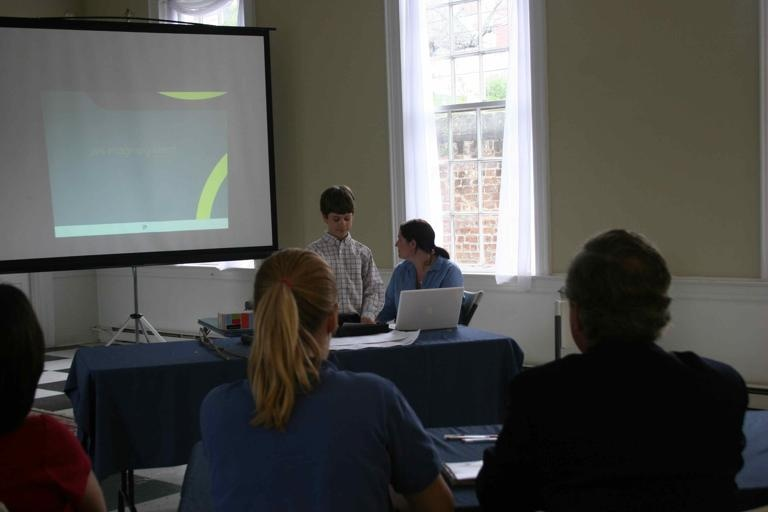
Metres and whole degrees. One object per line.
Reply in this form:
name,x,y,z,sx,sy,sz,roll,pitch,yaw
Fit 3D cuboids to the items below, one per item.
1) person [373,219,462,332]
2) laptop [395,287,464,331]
person,0.213,0.145,3.978,0.563,0.964,0.697,2,-2,-23
laptop,0.254,0.289,3.083,0.305,0.215,0.242,0,9,-16
